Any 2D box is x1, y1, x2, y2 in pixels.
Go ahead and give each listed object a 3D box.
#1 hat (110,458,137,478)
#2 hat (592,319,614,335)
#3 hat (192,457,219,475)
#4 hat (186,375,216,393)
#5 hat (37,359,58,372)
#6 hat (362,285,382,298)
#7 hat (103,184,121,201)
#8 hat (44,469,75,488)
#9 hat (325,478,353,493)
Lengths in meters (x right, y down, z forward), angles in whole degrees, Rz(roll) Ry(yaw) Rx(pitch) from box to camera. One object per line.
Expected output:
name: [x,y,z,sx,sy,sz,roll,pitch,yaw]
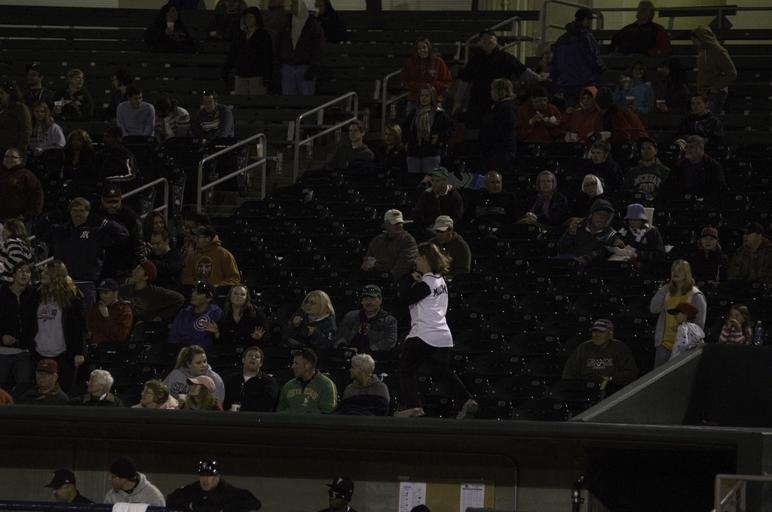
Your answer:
hat: [-2.622,2.124,15.533,0.246,0.148,0.173,-1,3,15]
hat: [2.739,0.895,19.737,0.276,0.169,0.198,3,-3,-12]
hat: [-1.807,2.105,15.546,0.207,0.151,0.148,-14,16,-33]
hat: [-2.230,1.538,18.760,0.274,0.137,0.181,16,-7,-16]
hat: [-4.241,1.391,19.564,0.237,0.116,0.163,9,5,-30]
hat: [-0.192,0.460,19.901,0.223,0.158,0.154,3,-3,-15]
hat: [-3.788,-0.874,21.441,0.218,0.155,0.313,2,-5,-14]
hat: [-3.255,2.230,15.518,0.249,0.125,0.171,0,-3,-8]
hat: [-0.458,2.276,15.483,0.252,0.142,0.067,3,-2,-9]
